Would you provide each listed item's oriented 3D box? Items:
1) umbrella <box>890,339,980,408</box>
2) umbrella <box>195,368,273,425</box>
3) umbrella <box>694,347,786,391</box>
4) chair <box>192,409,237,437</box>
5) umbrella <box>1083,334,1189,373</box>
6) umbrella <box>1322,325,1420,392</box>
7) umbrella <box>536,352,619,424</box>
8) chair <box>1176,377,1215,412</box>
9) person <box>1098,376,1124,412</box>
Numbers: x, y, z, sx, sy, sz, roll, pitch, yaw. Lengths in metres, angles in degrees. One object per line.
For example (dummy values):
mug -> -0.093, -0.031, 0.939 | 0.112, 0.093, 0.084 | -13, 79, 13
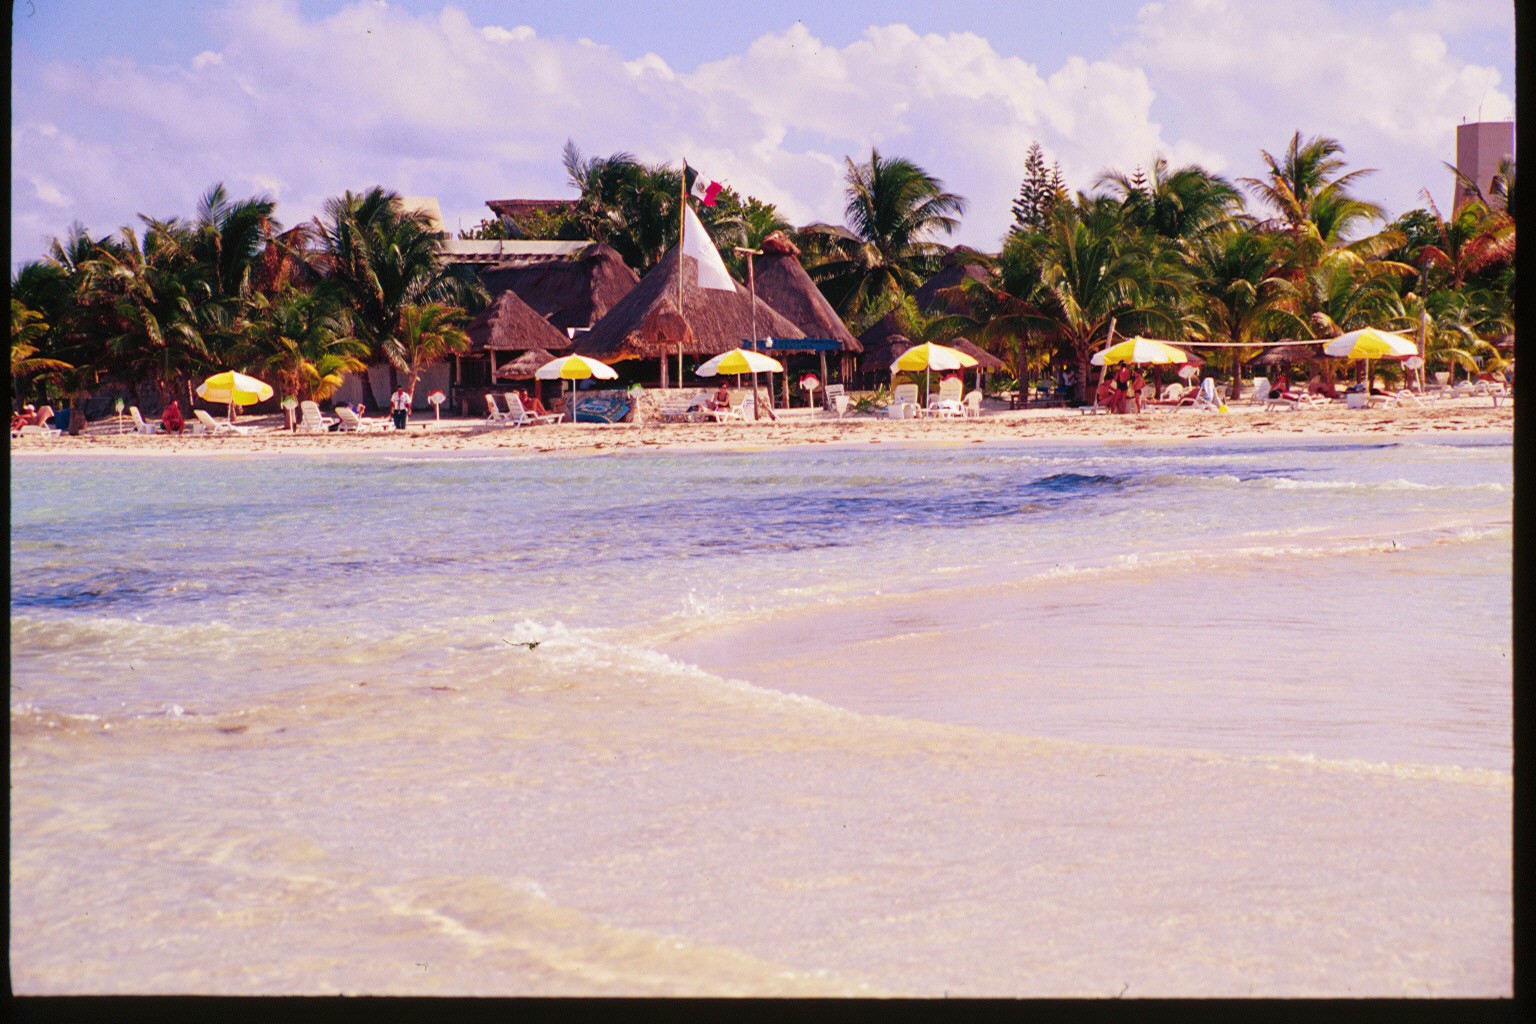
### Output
umbrella -> 3.462, -3.093, 35.960 | 1.623, 1.081, 1.406 | 0, 7, -8
umbrella -> -11.279, -2.552, 34.959 | 1.886, 1.329, 1.874 | 2, 0, -12
umbrella -> -0.753, -3.153, 35.683 | 1.262, 0.506, 1.232 | -1, 6, -33
chair -> -12.042, -1.850, 36.031 | 0.707, 0.499, 1.259 | -5, 4, -38
umbrella -> 7.846, -3.289, 34.693 | 1.349, 0.463, 1.352 | 2, -1, -10
umbrella -> 12.127, -3.249, 34.831 | 1.560, 1.091, 1.543 | 17, -10, -24
umbrella -> -4.295, -2.467, 35.959 | 1.600, 1.386, 1.554 | 0, -15, 3
chair -> 9.552, -2.665, 36.736 | 0.588, 0.817, 0.321 | 6, -28, 11
person -> 7.661, -2.603, 37.441 | 0.640, 0.832, 0.301 | -1, -5, 26
